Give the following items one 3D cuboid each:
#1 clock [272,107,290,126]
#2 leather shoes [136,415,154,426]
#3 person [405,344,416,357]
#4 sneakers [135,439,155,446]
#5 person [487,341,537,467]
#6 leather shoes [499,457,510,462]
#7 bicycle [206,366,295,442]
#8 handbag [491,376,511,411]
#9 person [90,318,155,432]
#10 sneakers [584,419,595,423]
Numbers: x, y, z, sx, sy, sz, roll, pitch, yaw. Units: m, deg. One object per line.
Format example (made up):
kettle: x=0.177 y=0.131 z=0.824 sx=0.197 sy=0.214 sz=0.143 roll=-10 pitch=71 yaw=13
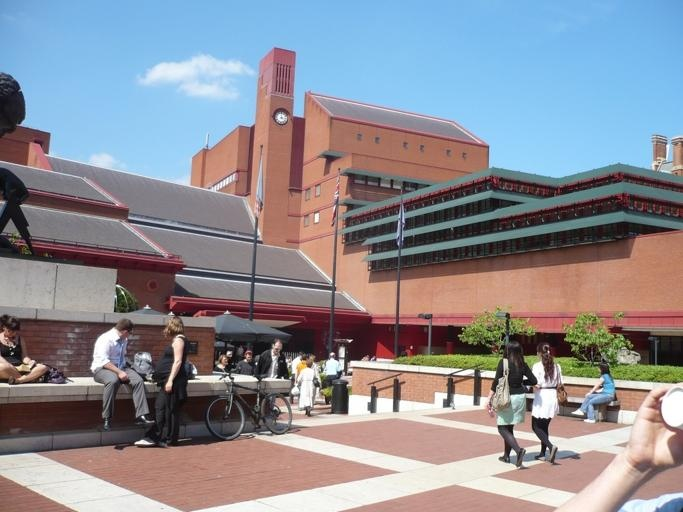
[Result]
clock: x=-6.870 y=-14.987 z=66.316 sx=1.749 sy=1.763 sz=1.746 roll=12 pitch=-12 yaw=-23
leather shoes: x=-3.624 y=2.951 z=10.933 sx=0.459 sy=0.192 sz=0.166 roll=-6 pitch=-13 yaw=30
person: x=5.537 y=7.588 z=49.315 sx=0.489 sy=0.868 sz=1.284 roll=6 pitch=-7 yaw=-21
sneakers: x=-3.490 y=3.329 z=10.822 sx=0.350 sy=0.142 sz=0.150 roll=2 pitch=-18 yaw=3
person: x=3.086 y=2.646 z=11.041 sx=0.796 sy=2.192 sz=0.932 roll=0 pitch=-7 yaw=30
leather shoes: x=2.965 y=3.724 z=11.106 sx=0.070 sy=0.077 sz=0.194 roll=12 pitch=-5 yaw=-44
bicycle: x=-1.949 y=3.268 z=12.996 sx=1.959 sy=1.193 sz=0.953 roll=10 pitch=-21 yaw=-38
handbag: x=2.833 y=2.434 z=10.816 sx=0.300 sy=0.587 sz=0.225 roll=3 pitch=-6 yaw=6
person: x=-3.941 y=2.112 z=10.892 sx=1.032 sy=1.959 sz=0.657 roll=6 pitch=-7 yaw=-22
sneakers: x=6.889 y=4.590 z=16.951 sx=0.277 sy=0.111 sz=0.096 roll=-11 pitch=-13 yaw=34
